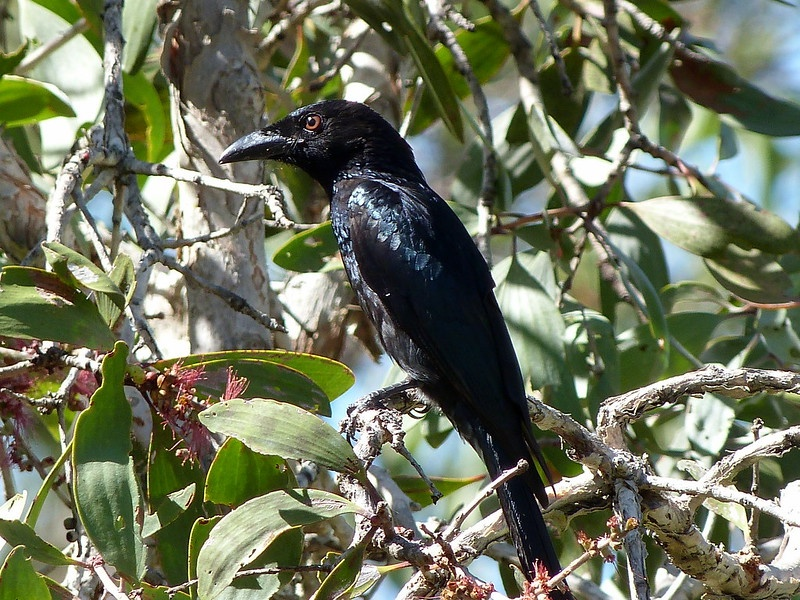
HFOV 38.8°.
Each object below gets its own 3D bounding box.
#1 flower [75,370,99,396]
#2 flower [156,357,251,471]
[{"bbox_3d":[-1.219,0.318,4.400,0.093,0.048,0.083,26,-61,5],"label":"flower"},{"bbox_3d":[-0.784,0.404,4.186,0.415,0.271,0.245,-24,7,45],"label":"flower"}]
